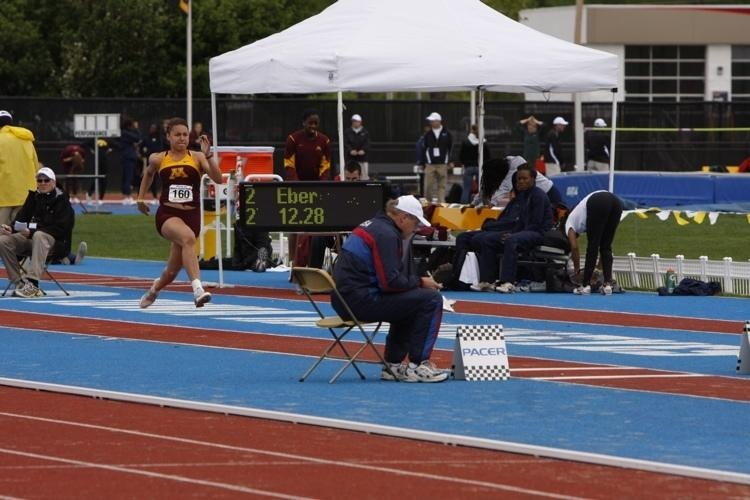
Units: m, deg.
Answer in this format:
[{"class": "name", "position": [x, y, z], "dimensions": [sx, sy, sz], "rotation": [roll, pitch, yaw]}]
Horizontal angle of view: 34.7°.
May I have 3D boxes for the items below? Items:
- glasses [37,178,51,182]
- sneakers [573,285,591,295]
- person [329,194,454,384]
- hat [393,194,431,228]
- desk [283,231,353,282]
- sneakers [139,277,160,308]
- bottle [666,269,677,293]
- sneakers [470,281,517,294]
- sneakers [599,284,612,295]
[{"class": "glasses", "position": [-5.076, -1.055, 18.209], "dimensions": [0.255, 0.072, 0.092], "rotation": [3, 6, 29]}, {"class": "sneakers", "position": [3.347, 0.650, 19.300], "dimensions": [0.238, 0.111, 0.118], "rotation": [5, 5, 38]}, {"class": "person", "position": [0.177, 0.564, 13.374], "dimensions": [1.301, 1.777, 0.319], "rotation": [0, 5, 1]}, {"class": "hat", "position": [0.431, -0.445, 13.329], "dimensions": [0.424, 0.212, 0.272], "rotation": [26, 4, -11]}, {"class": "desk", "position": [-0.792, -0.018, 19.685], "dimensions": [0.854, 0.963, 0.713], "rotation": [18, 20, 20]}, {"class": "sneakers", "position": [-3.423, 0.655, 18.078], "dimensions": [0.153, 0.414, 0.147], "rotation": [33, 14, -18]}, {"class": "bottle", "position": [4.825, 0.500, 19.429], "dimensions": [0.177, 0.361, 0.396], "rotation": [2, 6, 14]}, {"class": "sneakers", "position": [1.896, 0.592, 19.293], "dimensions": [0.618, 0.208, 0.256], "rotation": [3, 0, 6]}, {"class": "sneakers", "position": [3.730, 0.630, 19.222], "dimensions": [0.171, 0.157, 0.121], "rotation": [3, -2, 9]}]
